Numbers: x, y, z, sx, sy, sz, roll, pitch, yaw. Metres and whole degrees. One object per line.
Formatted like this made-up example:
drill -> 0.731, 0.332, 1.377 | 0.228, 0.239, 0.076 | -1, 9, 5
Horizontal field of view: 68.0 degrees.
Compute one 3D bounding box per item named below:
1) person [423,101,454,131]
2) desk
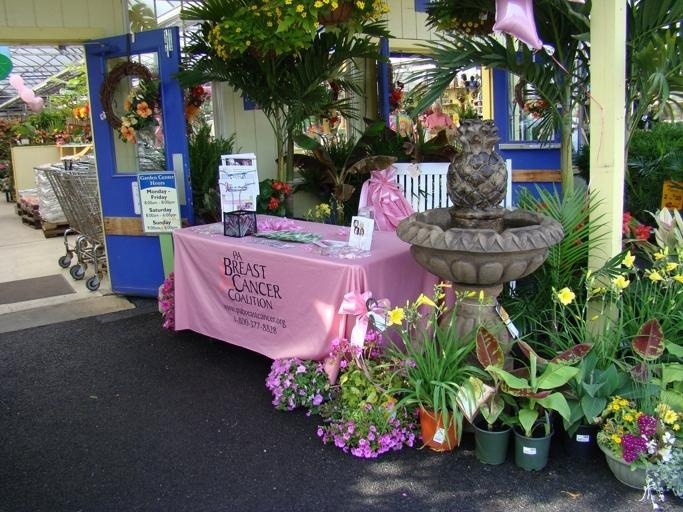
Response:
person -> 1.396, -2.012, 7.301 | 0.377, 0.376, 1.045 | -1, 18, 9
desk -> -0.439, 0.084, 3.802 | 1.768, 0.800, 1.041 | 12, 34, 30
